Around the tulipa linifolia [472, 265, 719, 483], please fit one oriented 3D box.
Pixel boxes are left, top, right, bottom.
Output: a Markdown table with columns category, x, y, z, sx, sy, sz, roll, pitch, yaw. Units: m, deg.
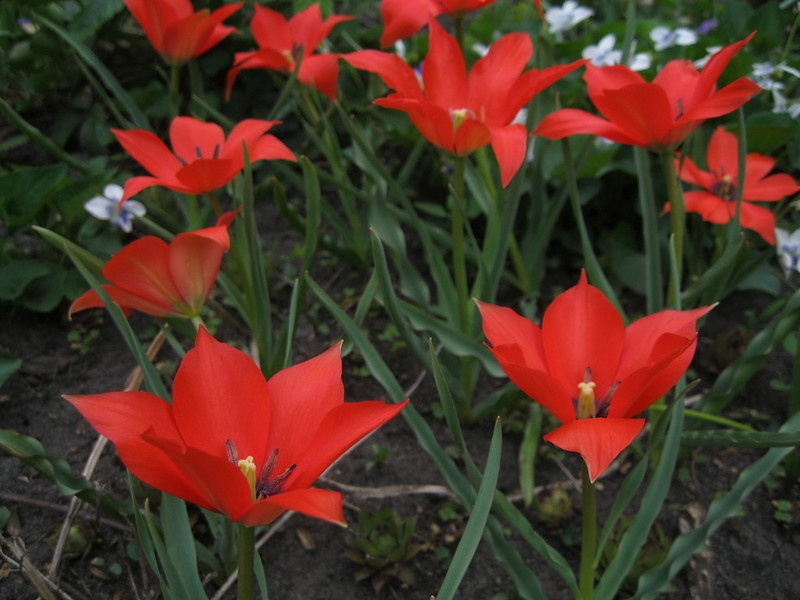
| category | x | y | z | sx | sy | sz | roll | pitch | yaw |
| --- | --- | --- | --- | --- | --- | --- | --- | --- | --- |
| tulipa linifolia | 0.438 | 0.190 | 1.614 | 0.469 | 0.358 | 0.597 | -3 | 32 | 9 |

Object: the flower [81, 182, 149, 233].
| category | x | y | z | sx | sy | sz | roll | pitch | yaw |
| --- | --- | --- | --- | --- | --- | --- | --- | --- | --- |
| flower | -0.708 | -0.252 | 1.927 | 0.158 | 0.064 | 0.145 | -1 | 0 | -43 |

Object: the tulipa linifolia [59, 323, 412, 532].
| category | x | y | z | sx | sy | sz | roll | pitch | yaw |
| --- | --- | --- | --- | --- | --- | --- | --- | --- | --- |
| tulipa linifolia | -0.360 | 0.269 | 1.553 | 0.504 | 0.286 | 0.503 | -6 | 33 | -25 |

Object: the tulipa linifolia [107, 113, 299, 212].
| category | x | y | z | sx | sy | sz | roll | pitch | yaw |
| --- | --- | --- | --- | --- | --- | --- | --- | --- | --- |
| tulipa linifolia | -0.503 | -0.359 | 1.869 | 0.286 | 0.145 | 0.301 | -14 | 33 | -22 |

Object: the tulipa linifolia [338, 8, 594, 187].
| category | x | y | z | sx | sy | sz | roll | pitch | yaw |
| --- | --- | --- | --- | --- | --- | --- | --- | --- | --- |
| tulipa linifolia | 0.166 | -0.515 | 1.876 | 0.431 | 0.255 | 0.515 | 30 | 52 | 31 |

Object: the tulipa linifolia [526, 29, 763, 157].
| category | x | y | z | sx | sy | sz | roll | pitch | yaw |
| --- | --- | --- | --- | --- | --- | --- | --- | --- | --- |
| tulipa linifolia | 0.636 | -0.488 | 1.873 | 0.439 | 0.265 | 0.546 | -2 | 20 | 20 |

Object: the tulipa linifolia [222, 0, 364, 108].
| category | x | y | z | sx | sy | sz | roll | pitch | yaw |
| --- | --- | --- | --- | --- | --- | --- | --- | --- | --- |
| tulipa linifolia | -0.299 | -0.704 | 2.087 | 0.288 | 0.150 | 0.321 | 27 | 66 | 18 |
